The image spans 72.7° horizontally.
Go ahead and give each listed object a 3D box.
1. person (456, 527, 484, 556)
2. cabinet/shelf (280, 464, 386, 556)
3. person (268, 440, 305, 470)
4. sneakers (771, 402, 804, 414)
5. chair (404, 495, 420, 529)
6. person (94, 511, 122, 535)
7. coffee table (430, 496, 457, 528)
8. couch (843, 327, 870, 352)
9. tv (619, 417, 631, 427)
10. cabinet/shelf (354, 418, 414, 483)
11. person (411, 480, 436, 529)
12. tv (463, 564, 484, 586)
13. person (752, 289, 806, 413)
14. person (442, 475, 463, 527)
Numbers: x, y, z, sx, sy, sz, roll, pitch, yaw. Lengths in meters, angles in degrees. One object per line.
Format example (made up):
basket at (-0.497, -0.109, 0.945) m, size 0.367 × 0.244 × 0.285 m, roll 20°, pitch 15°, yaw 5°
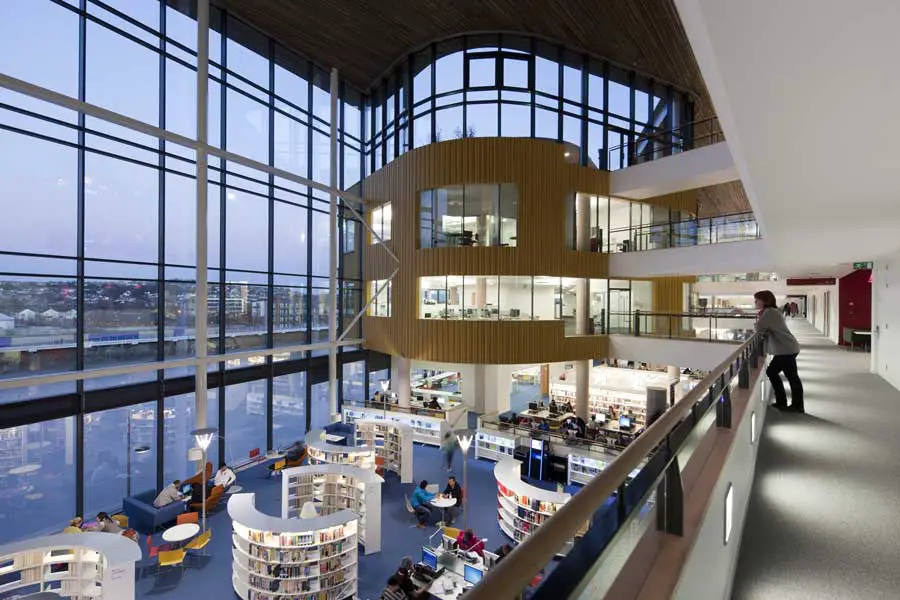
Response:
person at (0.534, 6.573, 16.671) m, size 0.726 × 0.738 × 0.415 m, roll 2°, pitch 5°, yaw 24°
cabinet/shelf at (-3.429, 5.991, 17.904) m, size 2.648 × 1.818 × 1.467 m, roll 1°, pitch 3°, yaw -4°
person at (-5.506, 5.361, 21.198) m, size 1.231 × 0.862 × 0.846 m, roll -2°, pitch -3°, yaw 22°
sneakers at (7.719, 2.435, 13.933) m, size 0.192 × 0.234 × 0.559 m, roll 4°, pitch -2°, yaw -36°
chair at (-1.168, 6.413, 18.672) m, size 0.628 × 0.910 × 0.542 m, roll -3°, pitch -4°, yaw 4°
person at (-9.457, 6.192, 17.042) m, size 0.653 × 0.603 × 0.970 m, roll 0°, pitch 0°, yaw -30°
coffee table at (-0.166, 6.257, 18.252) m, size 0.796 × 0.818 × 0.817 m, roll 0°, pitch -1°, yaw -7°
couch at (13.862, 1.307, 20.787) m, size 0.674 × 0.852 × 1.537 m, roll 0°, pitch 0°, yaw 31°
tv at (6.354, 4.377, 22.269) m, size 0.526 × 0.520 × 0.289 m, roll -8°, pitch -18°, yaw 41°
cabinet/shelf at (-2.413, 5.120, 21.605) m, size 2.216 × 1.751 × 0.895 m, roll 4°, pitch 10°, yaw 16°
person at (-0.773, 6.018, 18.329) m, size 0.763 × 1.143 × 0.690 m, roll 0°, pitch 0°, yaw -25°
tv at (0.596, 6.879, 15.515) m, size 0.472 × 0.510 × 0.432 m, roll 0°, pitch 0°, yaw 1°
person at (7.526, 1.149, 13.945) m, size 0.926 × 2.956 × 1.209 m, roll 0°, pitch 0°, yaw 31°
person at (0.165, 6.056, 18.668) m, size 0.670 × 1.362 × 0.570 m, roll 2°, pitch -12°, yaw -24°
